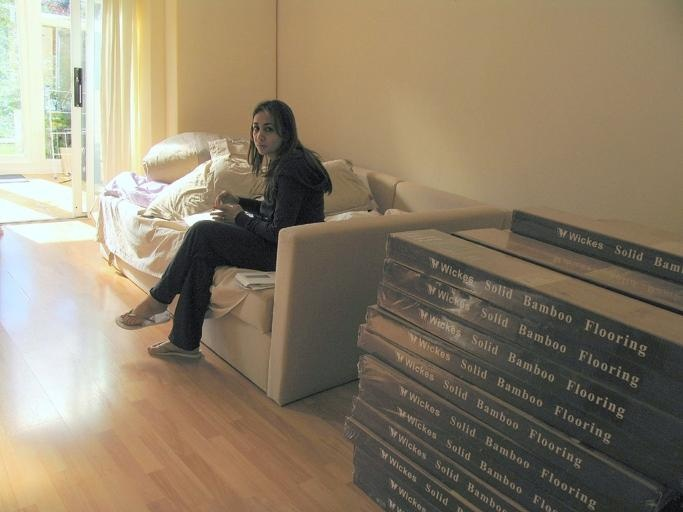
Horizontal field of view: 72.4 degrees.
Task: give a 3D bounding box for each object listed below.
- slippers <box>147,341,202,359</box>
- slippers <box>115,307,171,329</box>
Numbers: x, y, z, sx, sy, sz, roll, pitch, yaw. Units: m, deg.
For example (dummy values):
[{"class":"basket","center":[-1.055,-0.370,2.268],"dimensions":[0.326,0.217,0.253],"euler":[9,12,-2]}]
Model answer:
[{"class":"slippers","center":[-0.885,0.509,2.500],"dimensions":[0.281,0.118,0.107],"euler":[7,11,-6]},{"class":"slippers","center":[-1.077,0.342,2.525],"dimensions":[0.226,0.073,0.133],"euler":[-5,14,-36]}]
